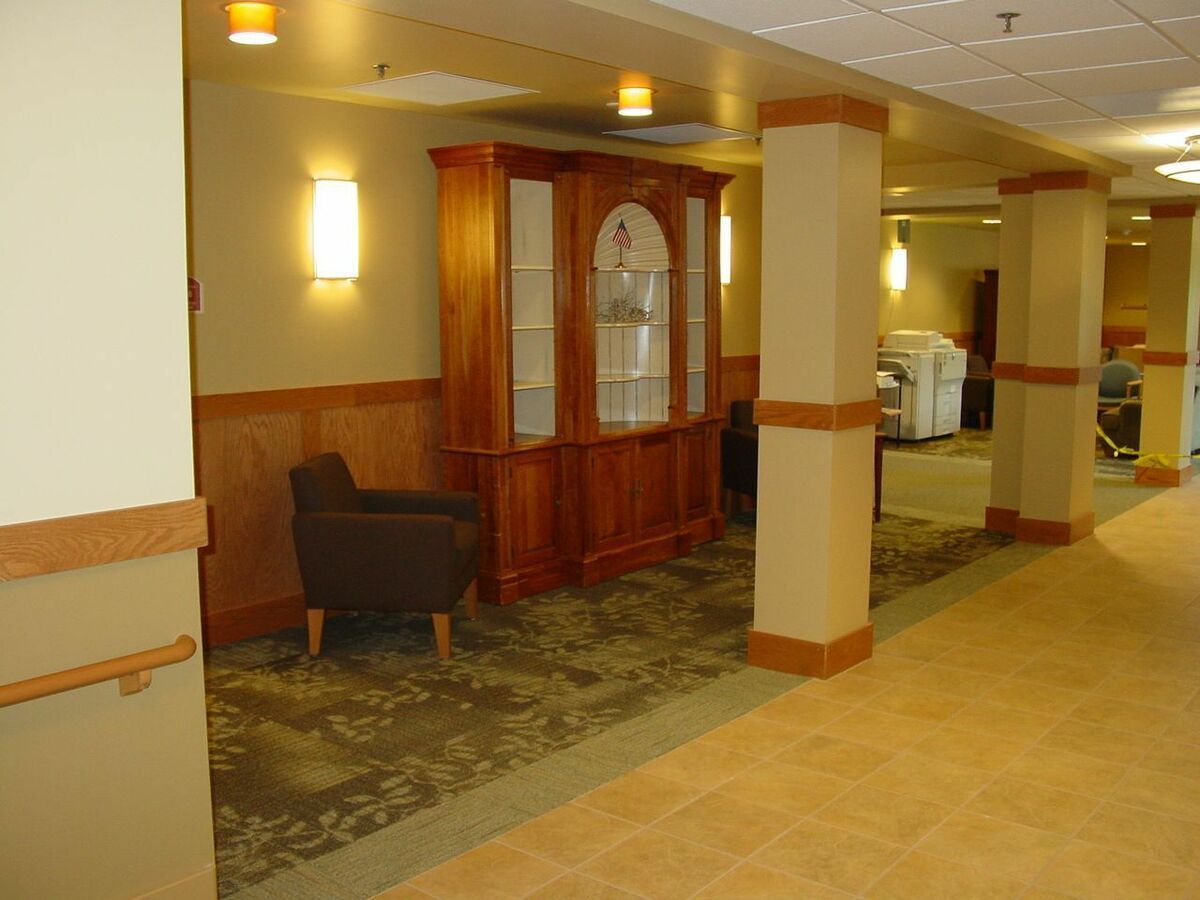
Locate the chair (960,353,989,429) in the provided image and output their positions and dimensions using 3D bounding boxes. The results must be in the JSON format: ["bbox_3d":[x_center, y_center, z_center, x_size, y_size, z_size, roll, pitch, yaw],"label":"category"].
[{"bbox_3d":[6.153,-0.920,14.493,0.438,1.147,0.838,5,12,23],"label":"chair"}]

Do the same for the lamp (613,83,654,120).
[{"bbox_3d":[0.248,-2.083,5.321,0.262,0.143,0.253,-9,16,-36],"label":"lamp"}]

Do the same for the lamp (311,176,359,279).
[{"bbox_3d":[-1.759,-1.446,5.844,0.306,0.650,0.119,-5,13,-23],"label":"lamp"}]

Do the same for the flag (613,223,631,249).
[{"bbox_3d":[0.155,-1.706,7.068,0.024,0.246,0.202,1,17,39],"label":"flag"}]

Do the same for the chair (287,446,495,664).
[{"bbox_3d":[-1.384,0.647,5.916,1.317,0.994,1.221,-1,11,-18],"label":"chair"}]
